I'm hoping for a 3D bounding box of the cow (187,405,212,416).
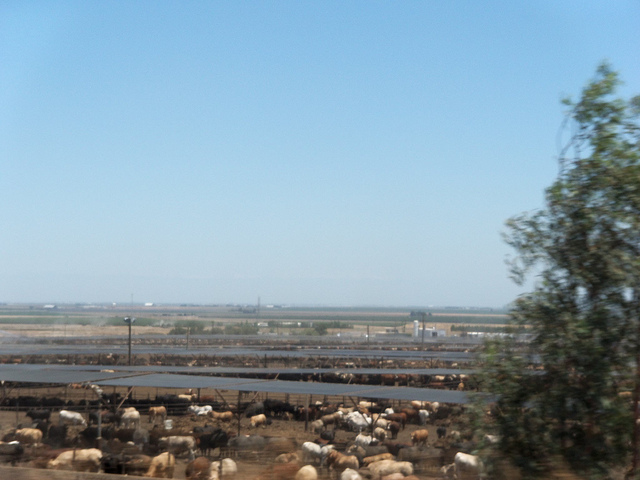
[{"bbox_3d":[-6.666,9.187,44.142,1.406,0.443,0.736,1,-2,10],"label":"cow"}]

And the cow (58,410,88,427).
[{"bbox_3d":[-12.447,8.886,40.404,1.547,0.908,0.937,6,-10,-44],"label":"cow"}]

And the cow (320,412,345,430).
[{"bbox_3d":[0.581,9.414,42.103,0.787,0.808,1.725,-5,-8,31],"label":"cow"}]

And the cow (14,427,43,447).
[{"bbox_3d":[-12.714,8.589,35.107,1.082,0.708,1.138,2,-7,-21],"label":"cow"}]

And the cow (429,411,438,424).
[{"bbox_3d":[6.274,9.843,44.992,0.201,0.776,0.445,-6,17,7],"label":"cow"}]

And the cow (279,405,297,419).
[{"bbox_3d":[-1.868,9.527,44.895,0.723,0.669,1.647,2,-7,-22],"label":"cow"}]

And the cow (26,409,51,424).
[{"bbox_3d":[-14.310,8.915,40.986,1.051,0.637,1.091,3,-8,-25],"label":"cow"}]

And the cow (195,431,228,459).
[{"bbox_3d":[-4.705,8.770,34.767,1.346,0.912,0.733,0,-7,-1],"label":"cow"}]

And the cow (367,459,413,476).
[{"bbox_3d":[2.771,8.891,31.763,1.837,0.585,0.940,1,-11,13],"label":"cow"}]

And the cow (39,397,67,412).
[{"bbox_3d":[-14.870,9.163,44.750,1.378,0.769,1.411,2,-7,-19],"label":"cow"}]

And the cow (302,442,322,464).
[{"bbox_3d":[-0.369,8.946,34.064,0.811,0.800,0.864,0,-7,-2],"label":"cow"}]

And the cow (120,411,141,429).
[{"bbox_3d":[-9.569,9.006,40.611,1.021,0.761,1.002,1,-7,-13],"label":"cow"}]

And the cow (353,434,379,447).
[{"bbox_3d":[2.143,9.064,36.742,1.486,0.762,0.493,0,2,6],"label":"cow"}]

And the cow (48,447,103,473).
[{"bbox_3d":[-8.877,7.965,29.478,2.111,0.586,1.995,-1,-7,7],"label":"cow"}]

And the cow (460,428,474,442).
[{"bbox_3d":[6.958,9.374,38.671,0.590,0.507,1.234,-1,-7,9],"label":"cow"}]

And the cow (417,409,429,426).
[{"bbox_3d":[5.587,9.717,44.377,0.480,0.772,1.138,-1,-7,6],"label":"cow"}]

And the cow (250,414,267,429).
[{"bbox_3d":[-3.226,9.387,41.938,0.622,0.625,1.253,-6,-9,37],"label":"cow"}]

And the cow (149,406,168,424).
[{"bbox_3d":[-8.728,9.291,43.409,0.957,0.693,1.406,1,-7,-12],"label":"cow"}]

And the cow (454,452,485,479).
[{"bbox_3d":[5.517,8.715,31.519,0.950,0.760,0.933,2,-7,-19],"label":"cow"}]

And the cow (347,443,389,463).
[{"bbox_3d":[2.036,9.128,34.646,1.679,0.789,0.597,2,-5,4],"label":"cow"}]

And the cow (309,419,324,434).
[{"bbox_3d":[-0.228,9.348,40.556,0.635,0.606,1.078,0,-7,-1],"label":"cow"}]

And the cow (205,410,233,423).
[{"bbox_3d":[-5.435,9.443,43.401,1.732,0.606,0.552,-5,-8,33],"label":"cow"}]

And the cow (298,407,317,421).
[{"bbox_3d":[-0.707,9.473,43.994,0.655,0.689,1.225,4,-8,-30],"label":"cow"}]

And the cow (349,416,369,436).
[{"bbox_3d":[1.857,9.288,41.018,0.808,0.674,0.896,0,-7,-7],"label":"cow"}]

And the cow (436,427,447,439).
[{"bbox_3d":[5.960,9.486,39.857,0.407,0.495,0.688,-1,-7,7],"label":"cow"}]

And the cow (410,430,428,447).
[{"bbox_3d":[4.632,9.322,38.184,0.562,0.628,1.212,-5,-8,32],"label":"cow"}]
